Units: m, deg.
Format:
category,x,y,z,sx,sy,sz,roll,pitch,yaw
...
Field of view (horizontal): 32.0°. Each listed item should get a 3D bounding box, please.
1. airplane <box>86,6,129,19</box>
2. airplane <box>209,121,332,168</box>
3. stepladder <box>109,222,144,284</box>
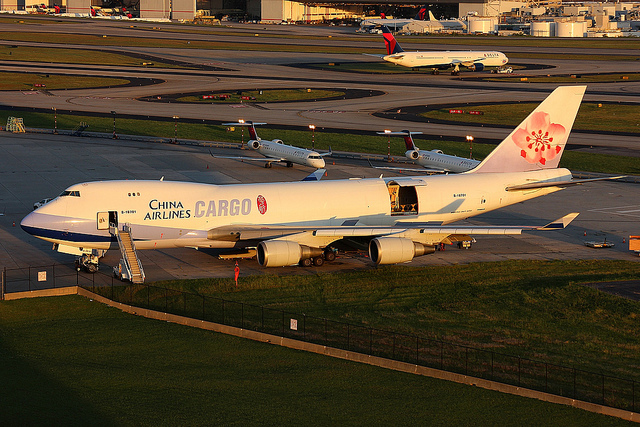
category,x,y,z,sx,sy,sz,roll,pitch,yaw
airplane,-62.730,-60.116,329.508,12.146,2.172,8.034,0,6,-8
airplane,-4.820,-7.576,128.082,15.375,3.020,13.514,-7,19,-33
stepladder,-16.465,3.324,96.045,2.205,4.748,1.248,-13,-19,-24
